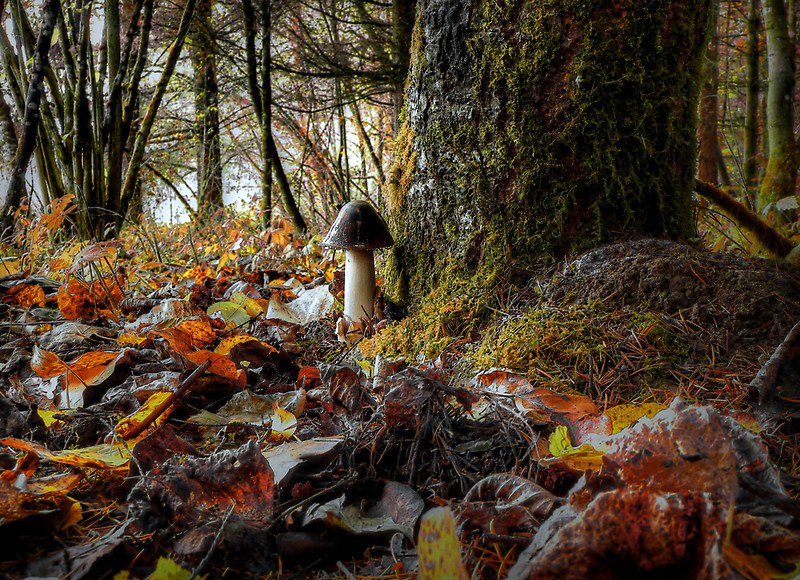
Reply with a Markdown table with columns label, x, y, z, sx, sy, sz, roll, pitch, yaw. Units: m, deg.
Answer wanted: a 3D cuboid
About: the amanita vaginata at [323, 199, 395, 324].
| label | x | y | z | sx | sy | sz | roll | pitch | yaw |
| --- | --- | --- | --- | --- | --- | --- | --- | --- | --- |
| amanita vaginata | -0.228 | -0.172 | 4.276 | 0.395 | 0.666 | 0.268 | -2 | 9 | -1 |
